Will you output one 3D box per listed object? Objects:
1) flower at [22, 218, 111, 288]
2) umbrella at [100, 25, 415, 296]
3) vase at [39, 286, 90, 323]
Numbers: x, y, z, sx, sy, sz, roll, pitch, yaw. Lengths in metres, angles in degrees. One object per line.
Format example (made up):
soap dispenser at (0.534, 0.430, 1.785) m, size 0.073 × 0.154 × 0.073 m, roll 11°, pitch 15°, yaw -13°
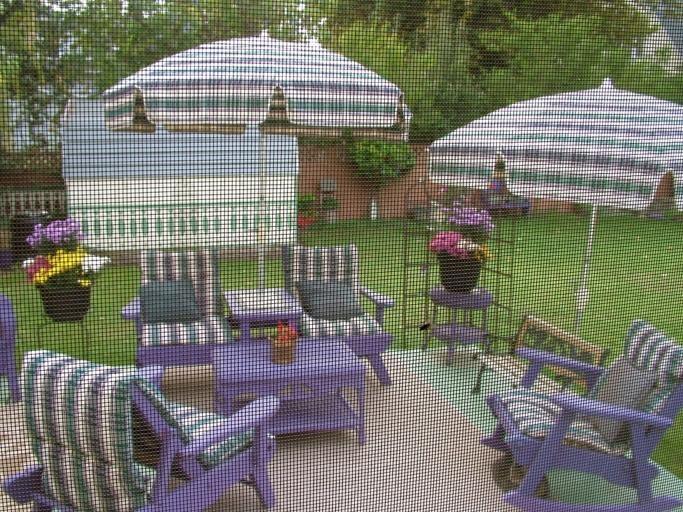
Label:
flower at (-0.896, 0.000, 2.553) m, size 0.261 × 0.229 × 0.070 m, roll -1°, pitch 20°, yaw 0°
umbrella at (-0.253, -0.284, 2.677) m, size 0.775 × 0.749 × 0.851 m, roll 3°, pitch 11°, yaw 10°
vase at (-0.904, 0.157, 2.598) m, size 0.136 × 0.114 × 0.119 m, roll -1°, pitch 3°, yaw -12°
